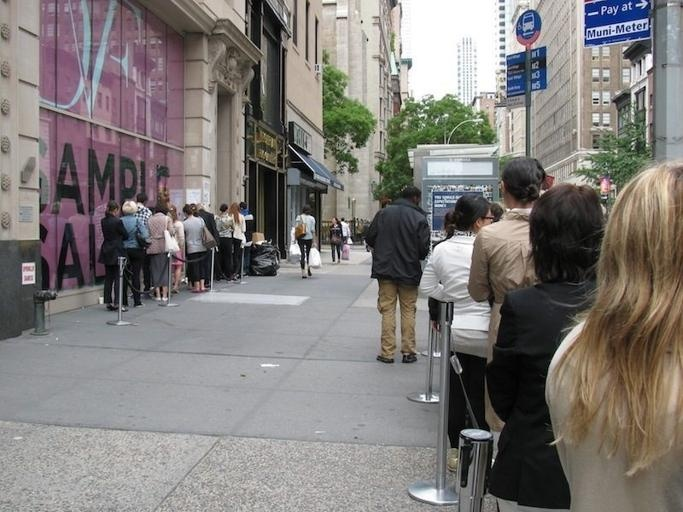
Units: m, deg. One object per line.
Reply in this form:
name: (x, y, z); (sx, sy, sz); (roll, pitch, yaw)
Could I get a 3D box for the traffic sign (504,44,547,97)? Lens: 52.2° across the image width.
traffic sign: (2.777, -2.770, 10.425); (0.432, 0.751, 0.935); (-1, 5, -35)

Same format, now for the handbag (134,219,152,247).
handbag: (-3.492, -0.403, 12.235); (0.178, 0.540, 0.241); (4, 5, 35)

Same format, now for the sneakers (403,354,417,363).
sneakers: (0.824, 1.225, 8.417); (0.070, 0.092, 0.201); (2, 3, 23)

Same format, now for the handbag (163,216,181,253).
handbag: (-3.260, -0.413, 13.245); (0.270, 0.706, 0.626); (0, 4, -15)

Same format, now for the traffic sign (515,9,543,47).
traffic sign: (2.806, -3.465, 10.508); (0.354, 0.713, 0.753); (2, 4, 13)

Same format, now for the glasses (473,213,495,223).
glasses: (1.204, -0.323, 5.967); (0.144, 0.051, 0.153); (-2, 0, 27)

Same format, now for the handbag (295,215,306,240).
handbag: (-1.165, -0.801, 19.328); (0.316, 0.634, 0.824); (1, 4, -3)
